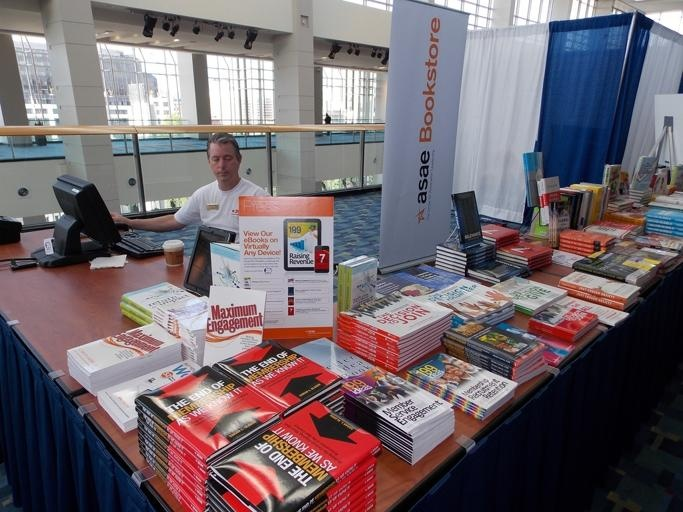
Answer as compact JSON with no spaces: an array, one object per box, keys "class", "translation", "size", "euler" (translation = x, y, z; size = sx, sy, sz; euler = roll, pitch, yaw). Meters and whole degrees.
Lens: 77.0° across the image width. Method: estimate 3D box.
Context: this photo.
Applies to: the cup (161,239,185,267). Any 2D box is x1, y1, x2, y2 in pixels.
[{"class":"cup","translation":[-0.994,-0.021,2.638],"size":[0.157,0.139,0.147],"euler":[2,19,-1]}]
